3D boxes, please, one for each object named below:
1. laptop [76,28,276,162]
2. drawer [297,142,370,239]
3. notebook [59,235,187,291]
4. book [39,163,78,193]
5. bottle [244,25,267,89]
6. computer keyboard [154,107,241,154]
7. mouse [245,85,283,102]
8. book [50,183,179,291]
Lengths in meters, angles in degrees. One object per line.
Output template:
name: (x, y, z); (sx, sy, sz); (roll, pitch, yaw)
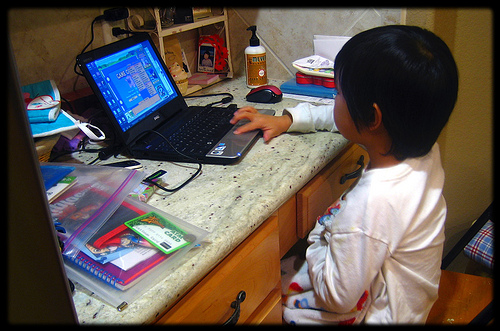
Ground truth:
laptop: (-0.198, -0.224, 1.054); (0.463, 0.265, 0.427); (10, 30, 14)
drawer: (0.298, 0.047, 1.098); (0.141, 0.178, 0.444); (9, 34, 28)
notebook: (-0.231, 0.186, 0.634); (0.118, 0.018, 0.112); (24, 33, 32)
book: (-0.451, 0.032, 0.800); (0.075, 0.010, 0.093); (14, 25, -27)
bottle: (0.021, -0.439, 1.444); (0.094, 0.215, 0.065); (-17, 32, -10)
computer keyboard: (-0.150, -0.108, 1.067); (0.138, 0.019, 0.297); (9, 35, 18)
mouse: (0.054, -0.282, 1.308); (0.118, 0.040, 0.065); (5, 27, 12)
book: (-0.263, 0.142, 0.684); (0.198, 0.019, 0.168); (29, 49, 25)
